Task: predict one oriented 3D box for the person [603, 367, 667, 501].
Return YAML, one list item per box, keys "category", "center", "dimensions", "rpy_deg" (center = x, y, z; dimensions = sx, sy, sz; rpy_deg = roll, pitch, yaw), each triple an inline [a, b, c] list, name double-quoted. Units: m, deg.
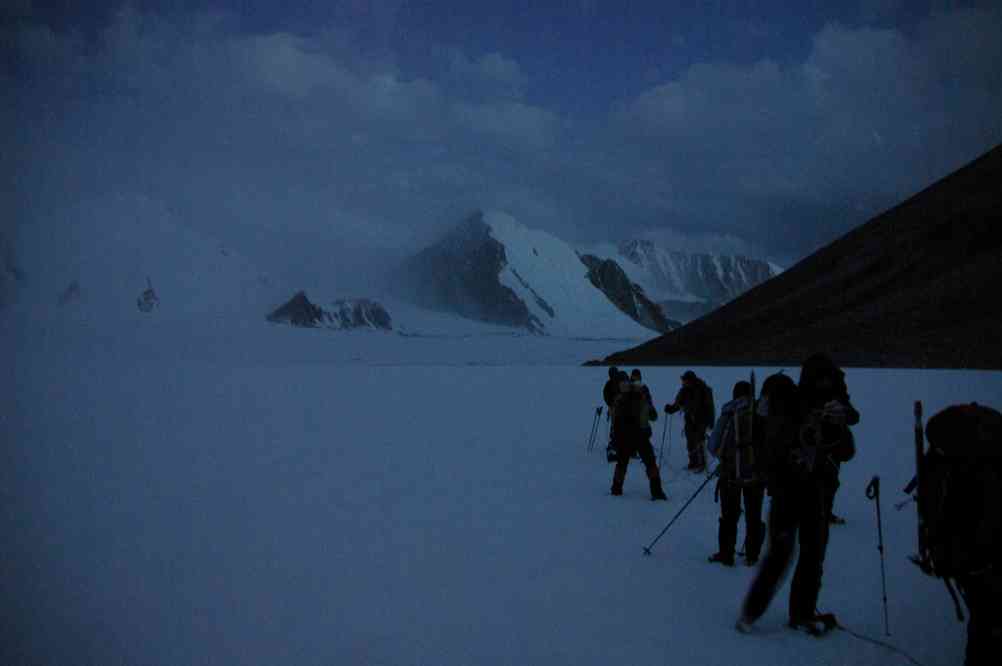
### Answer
- category: "person"
  center: [2.707, 2.111, 22.583]
  dimensions: [1.086, 2.673, 1.412]
  rpy_deg: [-2, 14, 6]
